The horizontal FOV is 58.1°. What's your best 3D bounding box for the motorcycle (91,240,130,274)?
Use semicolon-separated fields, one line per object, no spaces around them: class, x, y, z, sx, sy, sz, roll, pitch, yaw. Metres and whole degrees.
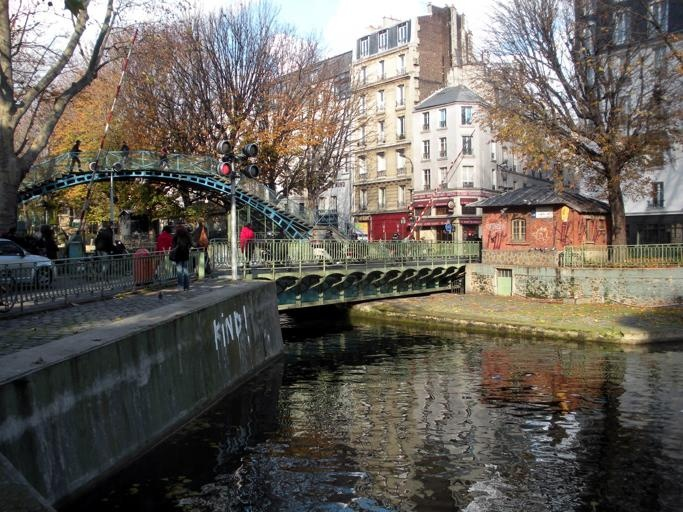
motorcycle;-7.587;0.020;20.247;1.159;1.563;2.697;1;2;-15

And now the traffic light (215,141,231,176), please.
traffic light;-3.803;-3.232;20.069;0.452;1.295;2.207;1;1;-12
